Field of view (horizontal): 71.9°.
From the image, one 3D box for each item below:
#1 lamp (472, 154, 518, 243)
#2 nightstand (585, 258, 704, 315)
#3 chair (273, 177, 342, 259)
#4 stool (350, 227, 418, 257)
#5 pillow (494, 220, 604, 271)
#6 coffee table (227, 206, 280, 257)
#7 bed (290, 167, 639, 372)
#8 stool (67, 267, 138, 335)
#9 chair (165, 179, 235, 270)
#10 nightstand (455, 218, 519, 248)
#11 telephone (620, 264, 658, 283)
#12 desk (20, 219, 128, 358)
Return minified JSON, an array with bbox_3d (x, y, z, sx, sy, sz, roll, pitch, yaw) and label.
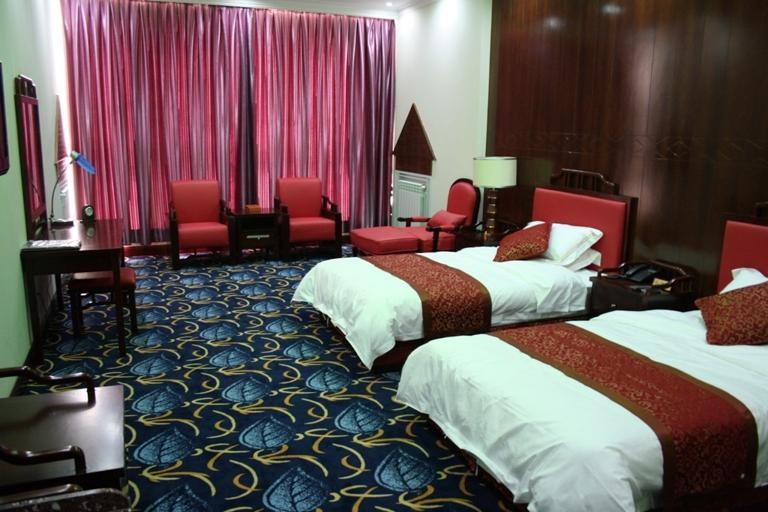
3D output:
[{"bbox_3d":[1.424,-0.702,6.931,0.625,1.025,0.558,3,4,-6],"label":"lamp"},{"bbox_3d":[2.630,0.423,5.178,0.564,0.610,0.676,14,-17,-12],"label":"nightstand"},{"bbox_3d":[-1.296,-0.664,8.633,1.043,1.078,0.955,-3,17,-17],"label":"chair"},{"bbox_3d":[0.069,-0.216,7.527,0.585,0.214,0.587,-2,9,-12],"label":"stool"},{"bbox_3d":[1.816,-0.110,5.799,0.592,0.299,0.976,-28,20,-29],"label":"pillow"},{"bbox_3d":[-1.997,-0.359,7.996,0.788,0.576,0.751,-4,8,-26],"label":"coffee table"},{"bbox_3d":[0.666,0.083,5.835,2.812,1.141,1.936,-6,17,-25],"label":"bed"},{"bbox_3d":[-2.966,0.413,5.505,0.834,0.687,0.763,-4,7,-28],"label":"stool"},{"bbox_3d":[-2.750,-0.506,7.988,0.937,1.212,0.866,-6,15,-14],"label":"chair"},{"bbox_3d":[1.368,-0.289,7.181,0.481,0.518,0.607,-4,12,-21],"label":"nightstand"},{"bbox_3d":[2.507,0.180,5.123,0.242,0.079,0.167,-23,20,-11],"label":"telephone"},{"bbox_3d":[-3.407,0.413,5.761,0.818,0.932,2.202,-5,4,-31],"label":"desk"}]
